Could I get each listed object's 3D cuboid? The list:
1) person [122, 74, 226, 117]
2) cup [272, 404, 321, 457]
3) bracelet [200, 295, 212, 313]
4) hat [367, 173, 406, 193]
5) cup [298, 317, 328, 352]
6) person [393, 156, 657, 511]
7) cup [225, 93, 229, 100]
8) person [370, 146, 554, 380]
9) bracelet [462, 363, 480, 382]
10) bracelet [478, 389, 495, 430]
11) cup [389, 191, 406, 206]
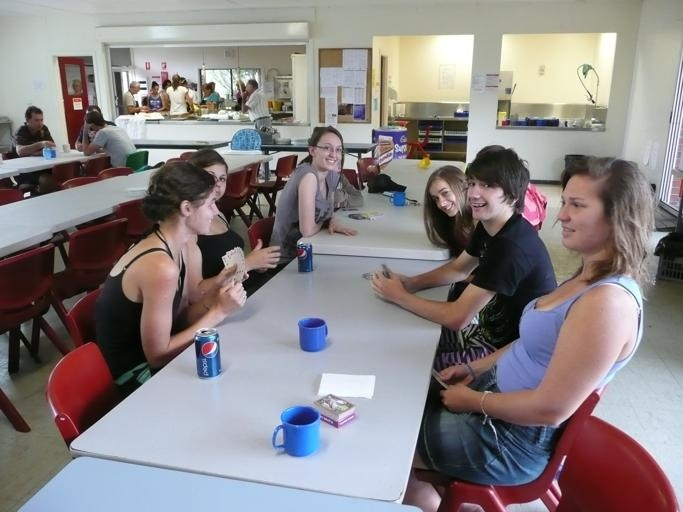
[{"bbox_3d":[-3.740,-3.611,11.040,1.881,0.867,0.912,-3,18,-12],"label":"person"},{"bbox_3d":[-0.128,0.494,1.411,0.134,0.102,0.107,1,18,-2],"label":"cup"},{"bbox_3d":[-0.621,0.221,2.297,0.055,0.055,0.056,-1,8,-3],"label":"bracelet"},{"bbox_3d":[0.398,-0.645,4.468,0.196,0.111,0.274,1,5,24],"label":"hat"},{"bbox_3d":[-0.106,0.295,1.892,0.093,0.096,0.121,1,12,5],"label":"cup"},{"bbox_3d":[0.623,0.231,1.641,0.628,1.105,0.381,8,19,19],"label":"person"},{"bbox_3d":[-2.999,-4.242,13.108,0.101,0.107,0.192,7,11,9],"label":"cup"},{"bbox_3d":[0.584,0.208,2.335,0.834,1.376,0.612,-3,20,6],"label":"person"},{"bbox_3d":[0.525,0.469,1.992,0.045,0.050,0.052,4,53,18],"label":"bracelet"},{"bbox_3d":[0.492,0.532,1.677,0.025,0.099,0.075,3,-26,-40],"label":"bracelet"},{"bbox_3d":[0.451,-0.471,3.947,0.109,0.124,0.112,-1,11,0],"label":"cup"}]
